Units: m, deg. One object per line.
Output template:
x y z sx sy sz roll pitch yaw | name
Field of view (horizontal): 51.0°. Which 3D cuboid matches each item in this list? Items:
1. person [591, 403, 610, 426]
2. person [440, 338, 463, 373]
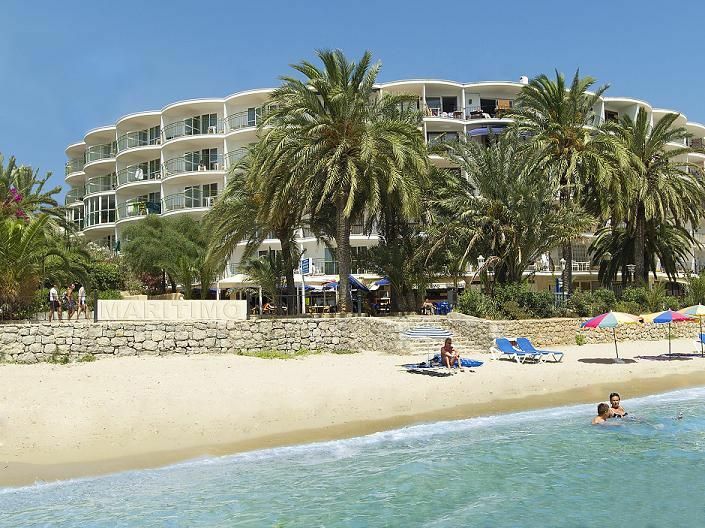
7.290 4.404 21.776 0.513 0.490 0.749 -9 10 -41 | person
3.475 3.114 26.048 0.655 0.966 0.928 -1 13 -11 | person
